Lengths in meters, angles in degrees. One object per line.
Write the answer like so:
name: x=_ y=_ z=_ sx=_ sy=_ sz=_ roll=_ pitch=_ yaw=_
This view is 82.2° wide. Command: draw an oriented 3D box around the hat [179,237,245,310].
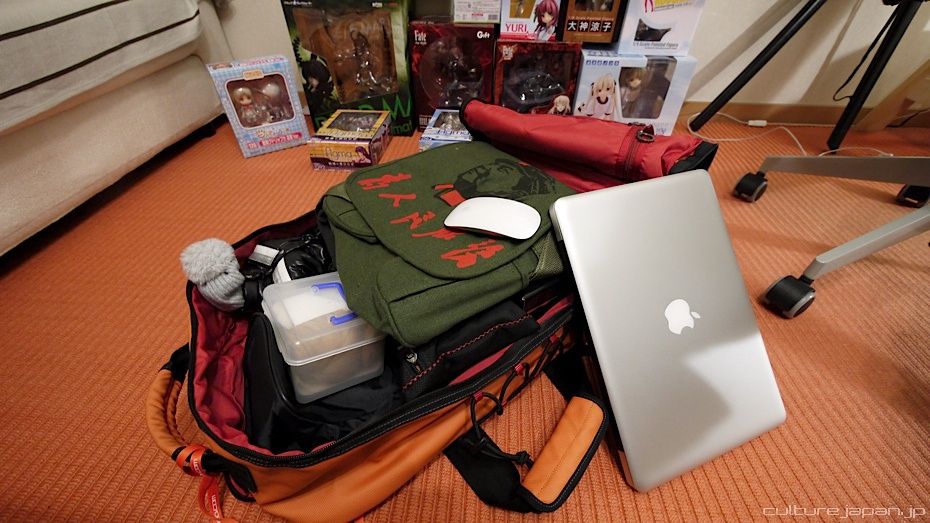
hat: x=-0.832 y=0.049 z=1.860 sx=0.183 sy=0.122 sz=0.246 roll=-35 pitch=83 yaw=-9

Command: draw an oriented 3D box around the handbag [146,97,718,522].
handbag: x=-0.112 y=0.280 z=2.061 sx=1.752 sy=0.604 sz=1.260 roll=-25 pitch=66 yaw=-16

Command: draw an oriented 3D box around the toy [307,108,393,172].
toy: x=-0.502 y=-0.551 z=2.378 sx=0.310 sy=0.131 sz=0.284 roll=2 pitch=45 yaw=6

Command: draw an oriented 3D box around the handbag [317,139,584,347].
handbag: x=-0.035 y=-0.031 z=1.943 sx=0.777 sy=0.217 sz=0.660 roll=-23 pitch=59 yaw=-13
